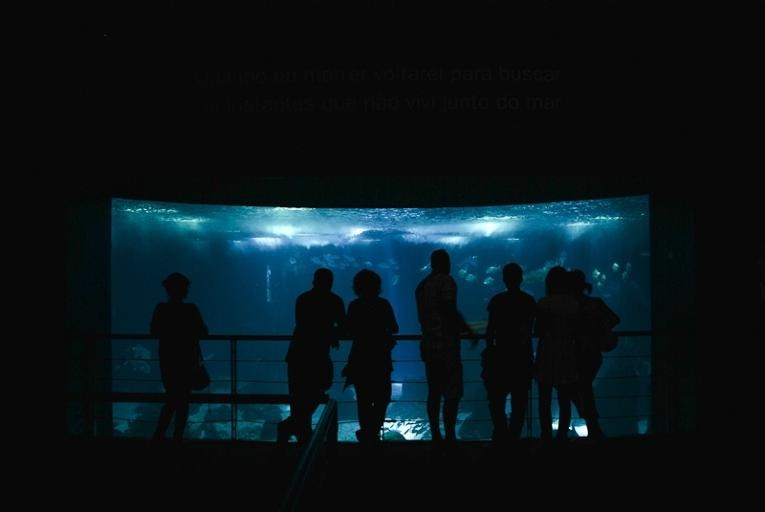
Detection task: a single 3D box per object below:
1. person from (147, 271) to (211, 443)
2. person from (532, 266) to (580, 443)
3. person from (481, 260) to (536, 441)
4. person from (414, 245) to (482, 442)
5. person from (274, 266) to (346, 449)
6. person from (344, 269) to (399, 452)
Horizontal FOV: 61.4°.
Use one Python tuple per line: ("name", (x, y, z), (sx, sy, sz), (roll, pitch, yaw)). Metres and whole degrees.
("person", (-3.065, 1.496, 9.731), (0.827, 2.492, 0.587), (1, -1, -20))
("person", (2.593, 1.419, 9.608), (0.614, 2.559, 0.504), (0, -1, 15))
("person", (1.854, 1.396, 9.565), (0.787, 2.602, 0.377), (0, -1, 10))
("person", (0.851, 1.306, 9.445), (0.789, 2.798, 0.477), (0, -1, 17))
("person", (-1.070, 1.470, 9.609), (0.959, 2.597, 0.728), (1, -1, -20))
("person", (-0.195, 1.477, 9.577), (0.797, 2.566, 0.534), (0, -1, -1))
